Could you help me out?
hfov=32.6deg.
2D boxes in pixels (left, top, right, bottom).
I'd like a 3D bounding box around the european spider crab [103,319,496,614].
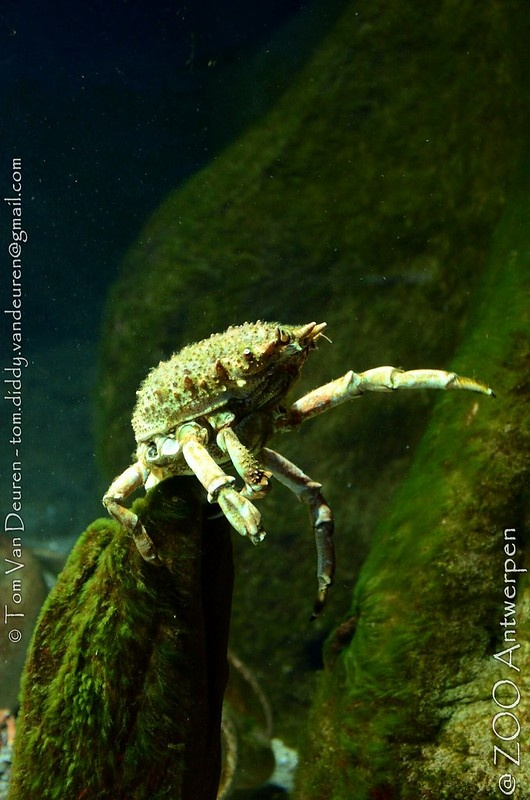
[{"bbox_3d":[-0.031,0.075,1.657,0.562,0.357,0.693,-21,2,-26],"label":"european spider crab"}]
